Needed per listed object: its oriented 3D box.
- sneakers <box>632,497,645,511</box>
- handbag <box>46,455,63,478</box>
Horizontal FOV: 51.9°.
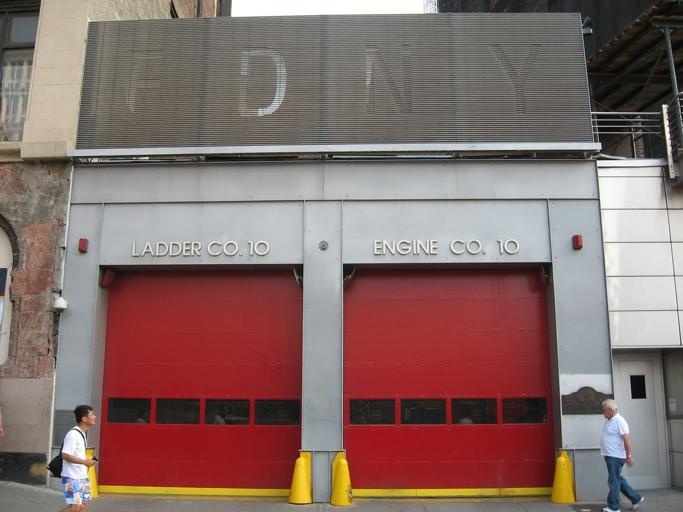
[{"bbox_3d":[5.951,4.999,14.166,0.265,0.112,0.096,-44,2,-10],"label":"sneakers"},{"bbox_3d":[-5.144,3.745,12.573,0.242,0.390,0.431,6,-14,-31],"label":"handbag"}]
